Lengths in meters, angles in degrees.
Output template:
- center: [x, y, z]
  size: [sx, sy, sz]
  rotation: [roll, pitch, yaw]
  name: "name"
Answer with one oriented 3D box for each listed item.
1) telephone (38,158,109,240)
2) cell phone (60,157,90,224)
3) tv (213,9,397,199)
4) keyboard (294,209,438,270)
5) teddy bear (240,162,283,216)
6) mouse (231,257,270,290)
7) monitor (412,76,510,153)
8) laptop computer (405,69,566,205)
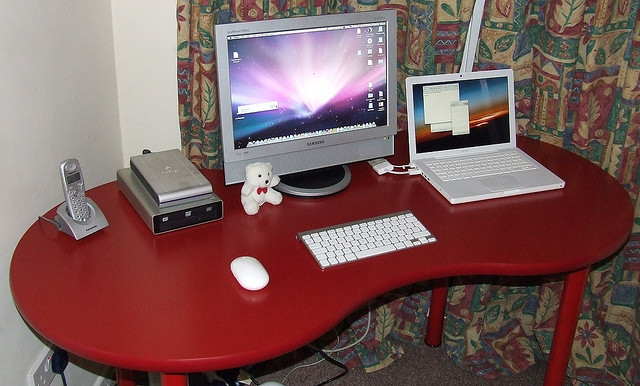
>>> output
- center: [-0.860, 0.003, 1.554]
  size: [0.203, 0.242, 0.194]
  rotation: [26, 32, 34]
  name: "telephone"
- center: [-0.820, 0.008, 1.562]
  size: [0.072, 0.264, 0.047]
  rotation: [-19, -5, 4]
  name: "cell phone"
- center: [-0.032, -0.374, 1.741]
  size: [0.751, 0.568, 0.166]
  rotation: [-11, 28, -11]
  name: "tv"
- center: [0.174, 0.164, 1.586]
  size: [0.456, 0.044, 0.213]
  rotation: [-9, 31, -22]
  name: "keyboard"
- center: [-0.223, -0.024, 1.700]
  size: [0.136, 0.172, 0.187]
  rotation: [32, 37, 31]
  name: "teddy bear"
- center: [-0.244, 0.250, 1.467]
  size: [0.150, 0.054, 0.202]
  rotation: [7, 14, -18]
  name: "mouse"
- center: [0.590, -0.332, 1.891]
  size: [0.506, 0.330, 0.012]
  rotation: [-8, 9, -16]
  name: "monitor"
- center: [0.642, -0.242, 1.768]
  size: [0.513, 0.346, 0.438]
  rotation: [-9, 30, -14]
  name: "laptop computer"
